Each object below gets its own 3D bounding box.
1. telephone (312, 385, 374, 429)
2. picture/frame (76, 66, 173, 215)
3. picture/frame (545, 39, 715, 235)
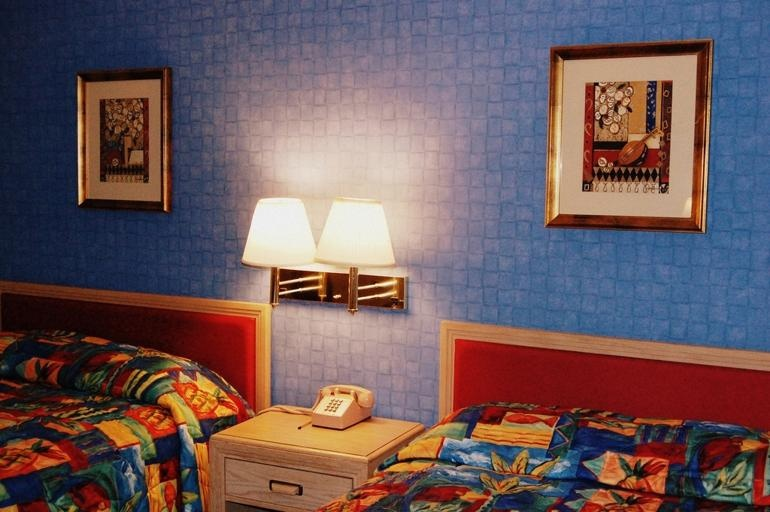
[{"bbox_3d":[-0.224,0.696,3.249,0.291,0.155,0.318,-3,1,-35],"label":"telephone"},{"bbox_3d":[-1.417,-0.652,3.768,0.859,0.946,0.078,1,3,26],"label":"picture/frame"},{"bbox_3d":[1.088,-0.532,2.956,0.880,0.963,0.041,2,4,22],"label":"picture/frame"}]
